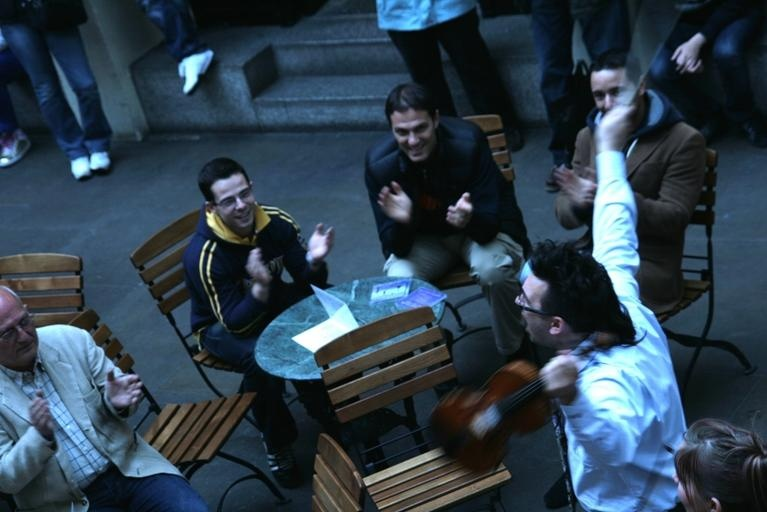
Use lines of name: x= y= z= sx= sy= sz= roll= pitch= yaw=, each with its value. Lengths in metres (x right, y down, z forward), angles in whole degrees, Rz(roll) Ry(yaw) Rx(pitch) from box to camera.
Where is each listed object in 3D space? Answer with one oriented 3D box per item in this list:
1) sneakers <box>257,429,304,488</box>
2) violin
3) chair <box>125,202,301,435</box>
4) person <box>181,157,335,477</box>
sneakers: x=-0.533 y=1.116 z=3.731 sx=0.236 sy=0.220 sz=0.284 roll=-24 pitch=4 yaw=2
violin: x=0.354 y=0.459 z=1.957 sx=0.438 sy=0.211 sz=0.266 roll=-29 pitch=23 yaw=-36
chair: x=-0.961 y=0.402 z=3.797 sx=0.703 sy=1.258 sz=0.793 roll=-43 pitch=38 yaw=-24
person: x=-0.663 y=0.318 z=3.856 sx=0.711 sy=1.705 sz=0.886 roll=-24 pitch=29 yaw=-37
